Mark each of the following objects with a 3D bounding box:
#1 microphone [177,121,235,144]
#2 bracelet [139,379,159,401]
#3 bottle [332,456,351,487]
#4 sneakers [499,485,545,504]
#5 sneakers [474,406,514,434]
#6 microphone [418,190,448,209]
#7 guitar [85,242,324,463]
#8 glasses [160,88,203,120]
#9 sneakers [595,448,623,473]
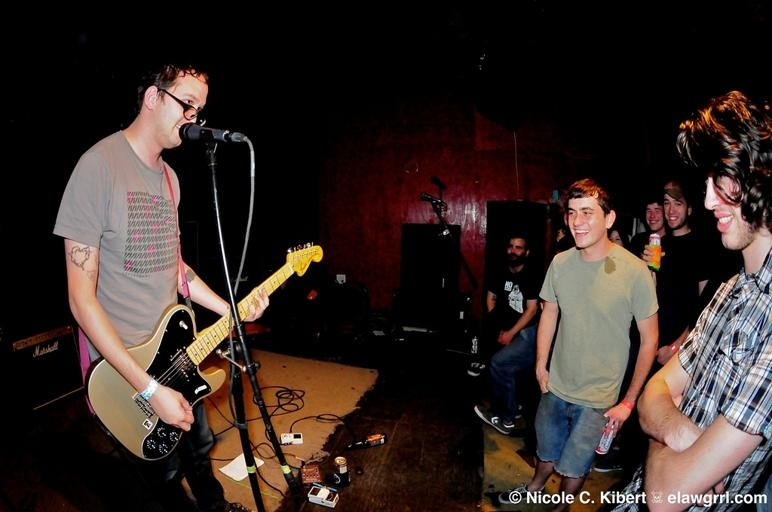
[{"bbox_3d":[-1.245,-0.842,3.577,0.476,0.144,0.146,2,52,18],"label":"microphone"},{"bbox_3d":[-1.647,0.943,3.543,0.144,0.055,0.142,-33,25,48],"label":"bracelet"},{"bbox_3d":[-0.402,1.998,4.759,0.146,0.247,0.190,-3,10,-6],"label":"bottle"},{"bbox_3d":[1.237,2.175,4.694,0.448,0.158,0.164,2,-3,4],"label":"sneakers"},{"bbox_3d":[1.179,1.793,5.608,0.189,0.174,0.463,-37,36,-15],"label":"sneakers"},{"bbox_3d":[0.753,-0.834,7.530,0.268,0.203,0.637,-29,-18,37],"label":"microphone"},{"bbox_3d":[-1.596,0.903,4.509,0.238,0.851,2.207,-12,26,46],"label":"guitar"},{"bbox_3d":[-1.536,-1.155,3.776,0.065,0.239,0.239,-47,30,10],"label":"glasses"},{"bbox_3d":[2.231,2.031,5.047,0.178,0.203,0.538,-10,-19,44],"label":"sneakers"}]
